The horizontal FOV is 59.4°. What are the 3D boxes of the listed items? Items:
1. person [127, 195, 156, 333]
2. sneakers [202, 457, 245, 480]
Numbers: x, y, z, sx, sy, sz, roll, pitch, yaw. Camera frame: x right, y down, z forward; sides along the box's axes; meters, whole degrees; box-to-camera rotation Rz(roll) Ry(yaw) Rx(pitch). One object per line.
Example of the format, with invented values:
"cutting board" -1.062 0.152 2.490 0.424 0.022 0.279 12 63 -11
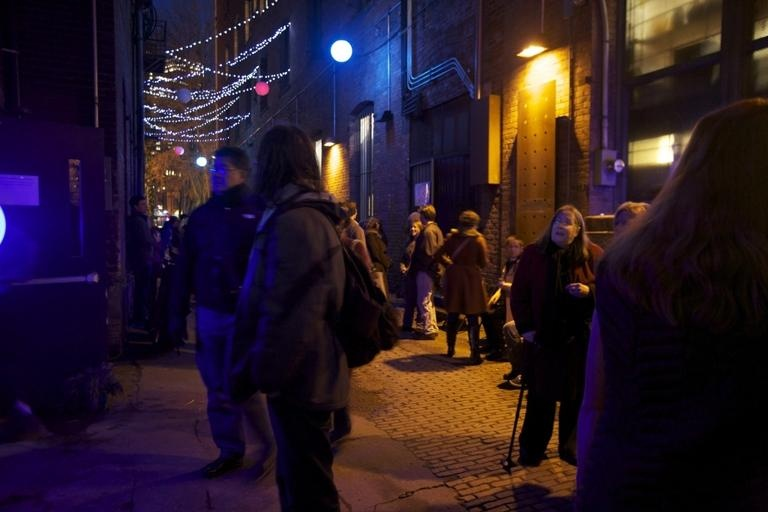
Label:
"person" -4.088 0.074 11.339 0.465 2.185 1.058 -1 3 -21
"sneakers" -1.330 1.755 5.574 0.300 0.123 0.134 3 -3 -38
